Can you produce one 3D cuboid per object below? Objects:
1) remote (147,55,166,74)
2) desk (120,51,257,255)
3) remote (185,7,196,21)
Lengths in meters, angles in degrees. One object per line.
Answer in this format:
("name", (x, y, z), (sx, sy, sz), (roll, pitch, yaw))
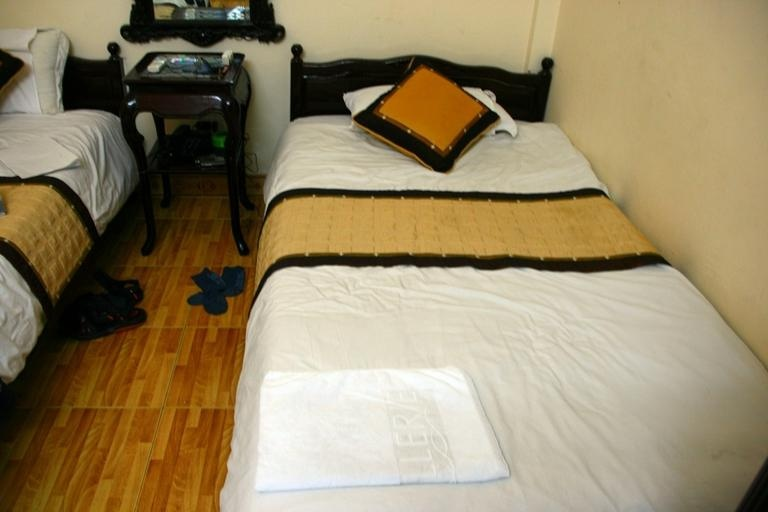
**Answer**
("remote", (-1.292, -1.093, 3.037), (0.084, 0.039, 0.167), (5, 40, 2))
("desk", (-1.183, -0.667, 3.327), (0.789, 1.008, 0.796), (-10, 35, -25))
("remote", (-1.169, -1.466, 3.221), (0.059, 0.060, 0.015), (-1, 11, -6))
